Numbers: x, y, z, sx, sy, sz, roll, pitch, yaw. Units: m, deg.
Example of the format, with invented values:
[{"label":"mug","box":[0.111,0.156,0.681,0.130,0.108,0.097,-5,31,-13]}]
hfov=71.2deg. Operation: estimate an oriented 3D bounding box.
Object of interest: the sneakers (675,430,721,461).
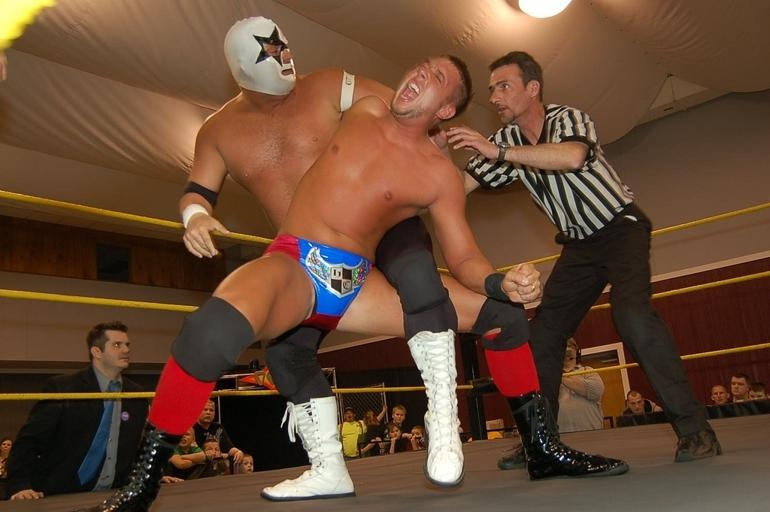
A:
[{"label":"sneakers","box":[1.242,0.749,2.147,0.088,0.109,0.261,-26,-24,35]}]

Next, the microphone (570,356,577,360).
[{"label":"microphone","box":[1.631,0.894,4.650,0.057,0.015,0.060,-4,-4,31]}]

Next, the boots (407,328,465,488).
[{"label":"boots","box":[0.209,0.576,2.049,0.182,0.552,0.203,-7,-21,5]}]

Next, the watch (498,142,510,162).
[{"label":"watch","box":[0.530,-0.466,2.418,0.056,0.083,0.086,12,20,12]}]

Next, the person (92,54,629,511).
[{"label":"person","box":[-0.192,0.013,2.026,1.441,1.611,0.418,-3,-22,-7]}]

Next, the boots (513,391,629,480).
[{"label":"boots","box":[0.697,0.689,2.052,0.473,0.326,0.164,-19,-23,35]}]

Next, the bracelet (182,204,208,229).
[{"label":"bracelet","box":[-0.784,-0.174,2.182,0.101,0.101,0.070,22,-64,-10]}]
